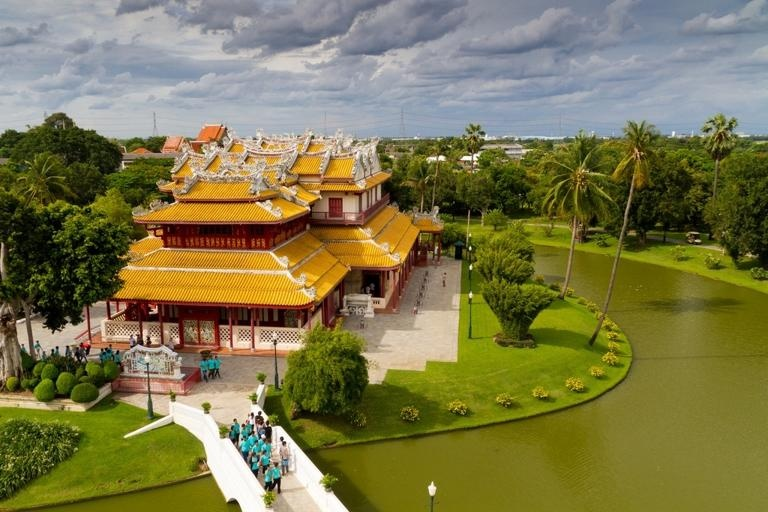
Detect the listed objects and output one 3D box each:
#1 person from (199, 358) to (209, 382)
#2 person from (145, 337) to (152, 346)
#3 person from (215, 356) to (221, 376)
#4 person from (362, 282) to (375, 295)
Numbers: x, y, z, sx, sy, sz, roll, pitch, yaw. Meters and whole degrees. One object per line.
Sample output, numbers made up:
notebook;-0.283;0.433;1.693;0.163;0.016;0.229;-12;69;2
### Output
person;-13.440;8.482;42.026;0.516;1.512;0.770;-7;7;-33
person;-19.322;6.982;46.189;0.426;0.733;1.259;-5;5;-20
person;-12.573;8.330;42.706;0.344;1.312;1.467;-4;5;-12
person;-1.472;3.317;56.756;1.309;1.212;0.792;1;5;5
